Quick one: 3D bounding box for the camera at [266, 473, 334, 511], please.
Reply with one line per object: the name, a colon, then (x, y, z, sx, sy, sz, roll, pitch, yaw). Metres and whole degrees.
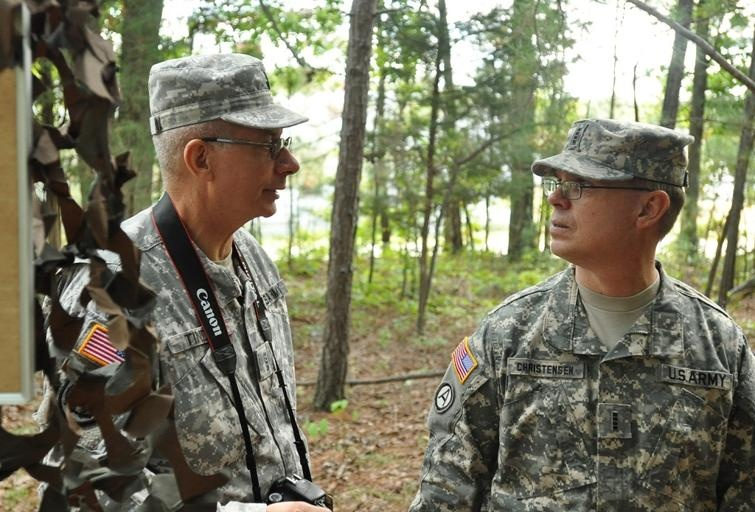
camera: (-0.481, 1.428, 6.098, 0.249, 0.111, 0.256, 28, 39, 14)

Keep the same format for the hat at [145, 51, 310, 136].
hat: (-1.001, -0.978, 6.214, 0.715, 0.361, 0.563, -5, 6, -3)
